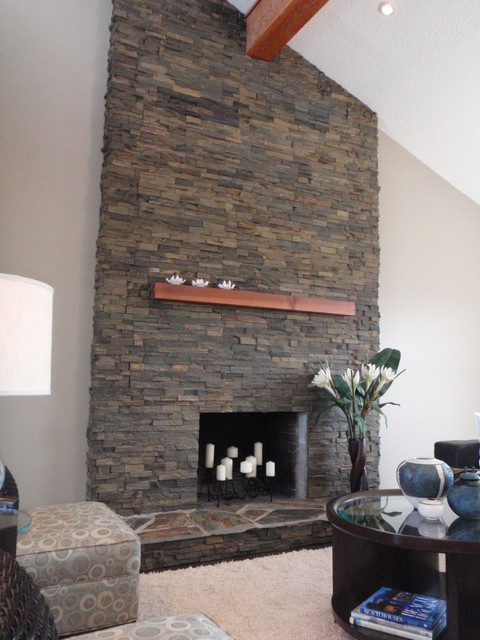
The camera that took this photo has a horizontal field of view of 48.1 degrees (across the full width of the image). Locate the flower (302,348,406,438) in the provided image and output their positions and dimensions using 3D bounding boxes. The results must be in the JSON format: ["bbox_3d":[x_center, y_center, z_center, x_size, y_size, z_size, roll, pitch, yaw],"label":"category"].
[{"bbox_3d":[0.857,0.490,3.862,0.676,0.433,0.701,-3,-7,21],"label":"flower"}]

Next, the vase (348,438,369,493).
[{"bbox_3d":[0.791,0.974,3.633,0.121,0.367,0.169,1,-6,12],"label":"vase"}]

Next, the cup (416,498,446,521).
[{"bbox_3d":[0.714,0.691,2.020,0.096,0.064,0.079,-3,3,-41],"label":"cup"}]

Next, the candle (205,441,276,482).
[{"bbox_3d":[0.014,1.021,3.849,0.587,0.292,0.371,4,-6,-18],"label":"candle"}]
